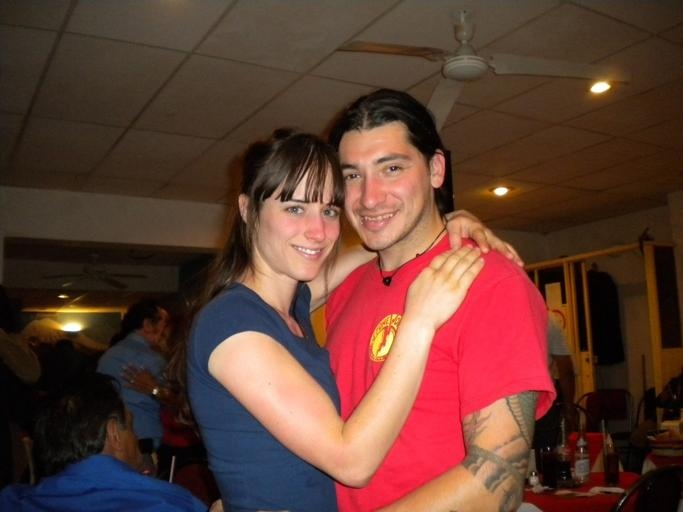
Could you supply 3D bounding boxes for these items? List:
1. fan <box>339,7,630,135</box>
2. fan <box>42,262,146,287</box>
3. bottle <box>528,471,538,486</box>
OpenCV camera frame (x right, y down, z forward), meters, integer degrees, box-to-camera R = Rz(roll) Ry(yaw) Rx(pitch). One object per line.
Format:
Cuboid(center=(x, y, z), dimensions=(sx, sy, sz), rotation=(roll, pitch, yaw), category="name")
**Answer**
Cuboid(center=(0.510, -1.238, 3.229), dimensions=(1.382, 0.441, 1.706), rotation=(-12, 29, -42), category="fan")
Cuboid(center=(-4.215, 0.355, 9.276), dimensions=(0.949, 0.275, 1.016), rotation=(2, -11, -16), category="fan")
Cuboid(center=(1.075, 1.241, 3.069), dimensions=(0.054, 0.062, 0.055), rotation=(1, -4, -12), category="bottle")
